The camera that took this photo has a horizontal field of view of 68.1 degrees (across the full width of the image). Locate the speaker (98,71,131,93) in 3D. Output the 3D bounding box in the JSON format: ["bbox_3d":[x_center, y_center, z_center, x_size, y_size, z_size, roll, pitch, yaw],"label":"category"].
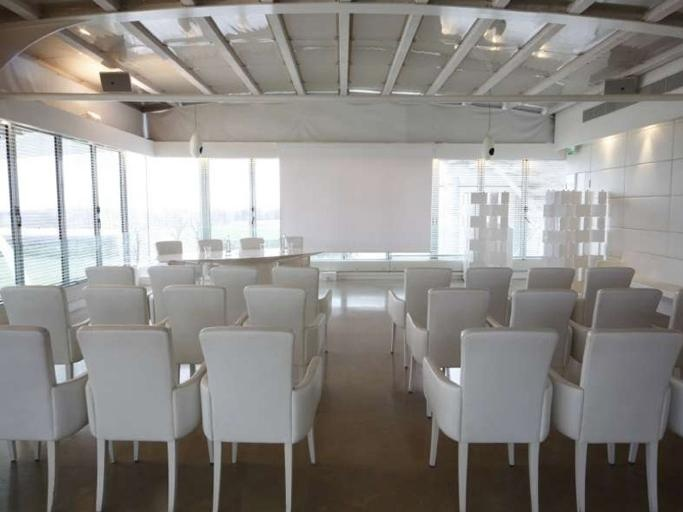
[{"bbox_3d":[-2.988,-2.293,6.683,0.383,0.284,0.282,2,20,-6],"label":"speaker"}]

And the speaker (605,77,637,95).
[{"bbox_3d":[3.817,-2.300,6.901,0.375,0.245,0.206,1,5,18],"label":"speaker"}]
